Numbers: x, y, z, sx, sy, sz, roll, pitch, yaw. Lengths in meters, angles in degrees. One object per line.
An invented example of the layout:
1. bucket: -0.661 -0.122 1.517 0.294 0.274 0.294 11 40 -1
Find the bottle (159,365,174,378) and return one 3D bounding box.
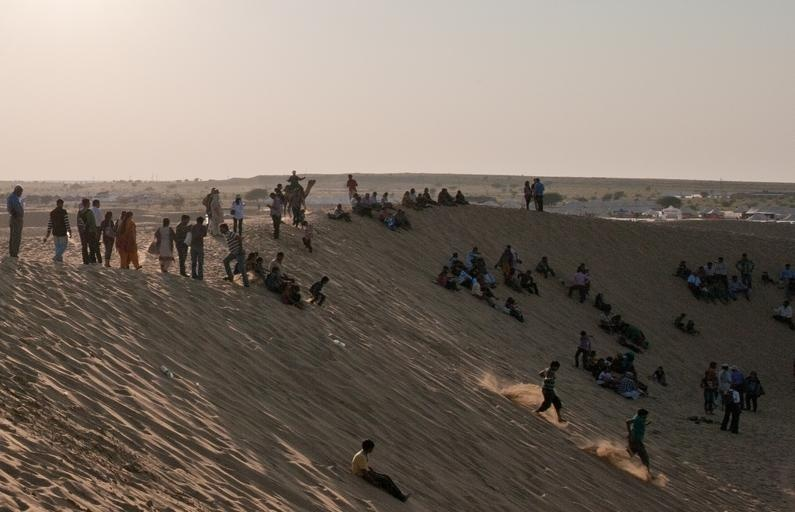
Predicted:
1. bottle: -4.852 2.442 19.750 0.337 0.165 0.090 40 2 22

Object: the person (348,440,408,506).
1. person: -0.372 4.235 18.941 1.236 1.099 0.647 5 6 16
